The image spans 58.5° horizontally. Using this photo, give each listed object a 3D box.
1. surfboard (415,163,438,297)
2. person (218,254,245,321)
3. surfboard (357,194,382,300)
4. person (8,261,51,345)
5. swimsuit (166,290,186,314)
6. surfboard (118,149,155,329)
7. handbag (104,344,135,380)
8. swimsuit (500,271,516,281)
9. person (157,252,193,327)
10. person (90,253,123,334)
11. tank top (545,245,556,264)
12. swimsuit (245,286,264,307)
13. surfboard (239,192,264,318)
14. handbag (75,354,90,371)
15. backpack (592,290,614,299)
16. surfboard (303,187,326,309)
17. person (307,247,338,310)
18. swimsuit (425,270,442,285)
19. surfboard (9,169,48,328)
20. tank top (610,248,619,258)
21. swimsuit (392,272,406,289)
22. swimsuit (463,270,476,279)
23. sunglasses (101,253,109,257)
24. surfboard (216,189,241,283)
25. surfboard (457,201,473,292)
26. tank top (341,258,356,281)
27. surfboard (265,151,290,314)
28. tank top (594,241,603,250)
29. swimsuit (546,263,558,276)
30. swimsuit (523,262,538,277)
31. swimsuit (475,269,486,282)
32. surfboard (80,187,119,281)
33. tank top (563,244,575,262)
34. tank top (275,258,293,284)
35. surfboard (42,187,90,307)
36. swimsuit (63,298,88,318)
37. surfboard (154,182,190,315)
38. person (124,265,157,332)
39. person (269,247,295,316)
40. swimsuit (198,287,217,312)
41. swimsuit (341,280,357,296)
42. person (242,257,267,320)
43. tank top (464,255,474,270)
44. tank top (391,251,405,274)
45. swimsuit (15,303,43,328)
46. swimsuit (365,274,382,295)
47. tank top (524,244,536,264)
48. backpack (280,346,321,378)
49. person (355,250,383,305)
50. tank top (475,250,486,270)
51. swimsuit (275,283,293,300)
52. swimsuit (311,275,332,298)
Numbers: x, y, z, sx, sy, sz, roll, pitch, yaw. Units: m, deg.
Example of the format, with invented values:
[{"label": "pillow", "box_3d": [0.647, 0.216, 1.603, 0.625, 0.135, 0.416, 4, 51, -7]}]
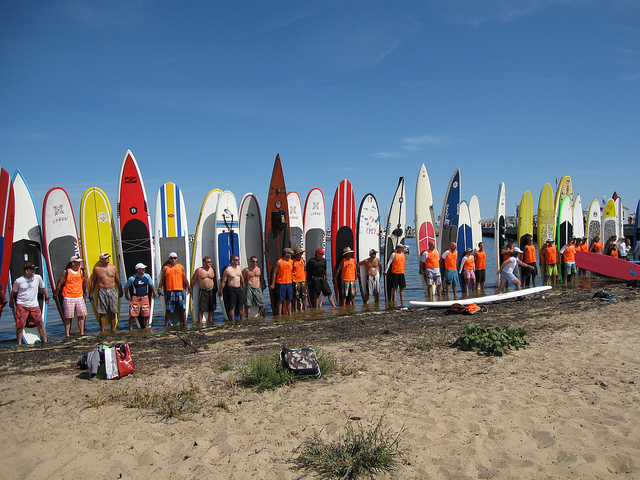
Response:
[{"label": "surfboard", "box_3d": [2.805, -0.150, 15.067, 0.514, 3.938, 0.392, 0, -2, -16]}, {"label": "person", "box_3d": [-2.008, 1.108, 13.090, 0.644, 1.447, 0.506, -1, 3, 7]}, {"label": "surfboard", "box_3d": [1.375, -0.064, 15.168, 0.661, 3.407, 0.368, 7, -46, -5]}, {"label": "person", "box_3d": [-5.788, 1.264, 11.346, 0.600, 1.576, 0.732, -3, 3, -30]}, {"label": "swimsuit", "box_3d": [-3.201, 1.360, 12.608, 0.367, 0.588, 0.213, 1, 19, -10]}, {"label": "surfboard", "box_3d": [-4.402, -0.131, 13.793, 0.812, 4.869, 0.546, 4, 41, -7]}, {"label": "handbag", "box_3d": [-3.189, 1.919, 8.993, 0.372, 0.501, 0.333, -13, -5, 27]}, {"label": "swimsuit", "box_3d": [4.790, 0.900, 14.515, 0.285, 0.227, 0.334, 3, 4, -19]}, {"label": "person", "box_3d": [-3.235, 1.083, 12.624, 0.751, 1.596, 0.655, -2, 3, -8]}, {"label": "person", "box_3d": [-4.555, 1.127, 12.235, 0.577, 1.681, 1.022, -3, 3, -23]}, {"label": "tank top", "box_3d": [6.674, 0.413, 16.497, 0.325, 0.550, 0.147, -1, 3, 3]}, {"label": "swimsuit", "box_3d": [-1.531, 1.282, 13.210, 0.374, 0.441, 0.162, 4, -7, -27]}, {"label": "surfboard", "box_3d": [-1.731, -0.275, 14.394, 0.531, 0.376, 3.197, 1, -35, -4]}, {"label": "handbag", "box_3d": [-3.860, 1.985, 9.276, 0.144, 0.237, 0.462, 13, -5, -25]}, {"label": "backpack", "box_3d": [6.724, 1.310, 13.569, 0.401, 0.120, 0.559, -3, 3, -16]}, {"label": "surfboard", "box_3d": [-0.115, 0.079, 15.273, 0.634, 3.811, 0.385, 4, 36, 3]}, {"label": "person", "box_3d": [0.013, 0.943, 13.945, 0.645, 1.452, 0.820, -1, 3, 0]}, {"label": "swimsuit", "box_3d": [2.838, 0.955, 14.389, 0.451, 0.547, 0.285, -1, -3, -4]}, {"label": "surfboard", "box_3d": [-6.150, 0.353, 11.953, 0.578, 3.386, 0.261, 1, -11, -45]}, {"label": "tank top", "box_3d": [9.057, 0.426, 17.548, 0.284, 0.366, 0.082, 2, -6, -1]}, {"label": "swimsuit", "box_3d": [1.971, 1.020, 14.256, 0.327, 0.394, 0.206, -2, 3, -6]}, {"label": "swimsuit", "box_3d": [3.962, 0.901, 15.158, 0.260, 0.297, 0.189, -4, -43, 14]}, {"label": "sunglasses", "box_3d": [-4.541, 0.309, 12.024, 0.129, 0.045, 0.090, -7, -2, 25]}, {"label": "surfboard", "box_3d": [-2.283, 0.130, 14.337, 0.621, 3.574, 0.397, -6, 36, -13]}, {"label": "surfboard", "box_3d": [4.051, 0.173, 16.006, 0.395, 2.593, 0.233, 3, -10, -12]}, {"label": "tank top", "box_3d": [0.701, 0.720, 14.059, 0.359, 0.570, 0.230, -2, 3, -11]}, {"label": "surfboard", "box_3d": [-1.032, -0.299, 14.266, 0.398, 2.852, 0.473, 2, 42, 4]}, {"label": "tank top", "box_3d": [8.969, 0.184, 18.348, 0.299, 0.223, 0.171, -3, 3, -29]}, {"label": "swimsuit", "box_3d": [6.711, 0.863, 16.519, 0.337, 0.512, 0.260, -8, -21, 38]}, {"label": "swimsuit", "box_3d": [5.898, 0.825, 16.004, 0.347, 0.383, 0.529, -1, 3, 14]}, {"label": "swimsuit", "box_3d": [4.459, 0.979, 15.930, 0.287, 0.350, 0.162, -2, -1, -41]}, {"label": "surfboard", "box_3d": [-5.213, -0.450, 13.413, 0.752, 0.374, 3.466, -12, 36, -18]}, {"label": "tank top", "box_3d": [7.486, 0.408, 17.169, 0.329, 0.554, 0.272, 5, -15, -16]}, {"label": "tank top", "box_3d": [-0.828, 0.725, 13.298, 0.427, 0.576, 0.196, -3, 3, -30]}, {"label": "surfboard", "box_3d": [-6.029, 0.151, 13.433, 0.830, 3.872, 0.404, -27, 56, -36]}, {"label": "swimsuit", "box_3d": [-4.955, 1.329, 11.563, 0.288, 0.590, 0.534, -9, -9, 40]}, {"label": "surfboard", "box_3d": [-3.490, 0.467, 13.605, 0.740, 4.109, 0.414, 1, -36, -21]}, {"label": "person", "box_3d": [-3.888, 1.232, 12.208, 0.605, 1.406, 0.695, -2, 3, -7]}, {"label": "person", "box_3d": [-0.879, 0.963, 13.305, 0.548, 1.480, 0.341, -2, 3, -6]}, {"label": "swimsuit", "box_3d": [-2.570, 1.362, 13.127, 0.182, 0.567, 0.508, 1, 4, 41]}, {"label": "swimsuit", "box_3d": [0.679, 1.210, 14.106, 0.352, 0.573, 0.308, 0, -6, -4]}, {"label": "person", "box_3d": [-1.535, 1.107, 13.253, 0.503, 1.437, 0.788, -2, 3, -9]}, {"label": "tank top", "box_3d": [3.965, 0.616, 15.338, 0.287, 0.465, 0.245, 1, -8, 4]}, {"label": "tank top", "box_3d": [1.986, 0.567, 14.326, 0.373, 0.558, 0.196, -3, 3, -30]}, {"label": "swimsuit", "box_3d": [-5.726, 1.481, 11.210, 0.140, 0.471, 0.425, -8, -8, 40]}, {"label": "swimsuit", "box_3d": [1.286, 1.185, 14.556, 0.476, 0.697, 0.373, -1, -5, 1]}, {"label": "tank top", "box_3d": [5.843, 0.380, 15.921, 0.383, 0.508, 0.169, -3, 3, -30]}, {"label": "backpack", "box_3d": [-0.298, 1.911, 8.883, 0.558, 0.219, 0.723, 1, 21, -14]}, {"label": "person", "box_3d": [1.242, 0.924, 14.512, 0.517, 1.378, 0.537, 0, 3, 21]}, {"label": "tank top", "box_3d": [4.448, 0.567, 15.843, 0.298, 0.512, 0.239, -1, 3, 1]}, {"label": "swimsuit", "box_3d": [-0.828, 1.166, 13.379, 0.458, 0.572, 0.305, 0, 7, -10]}, {"label": "swimsuit", "box_3d": [0.039, 1.125, 13.829, 0.516, 0.576, 0.310, -1, 3, 18]}]
